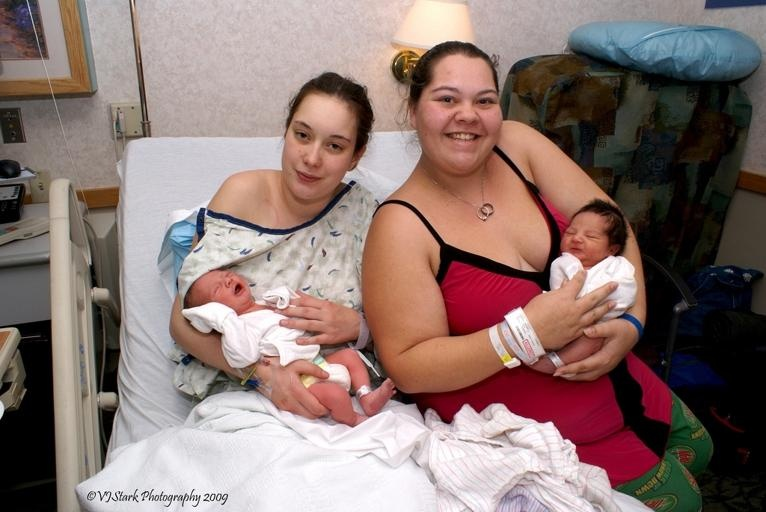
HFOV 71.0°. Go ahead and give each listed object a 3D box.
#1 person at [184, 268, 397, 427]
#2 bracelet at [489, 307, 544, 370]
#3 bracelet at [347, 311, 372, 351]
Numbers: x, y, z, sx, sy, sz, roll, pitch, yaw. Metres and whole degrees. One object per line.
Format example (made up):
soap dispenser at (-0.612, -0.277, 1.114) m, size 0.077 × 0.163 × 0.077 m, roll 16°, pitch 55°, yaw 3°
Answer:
person at (-0.378, 0.288, 1.854) m, size 0.787 × 0.258 × 0.417 m, roll 34°, pitch 31°, yaw 2°
bracelet at (0.443, 0.289, 1.905) m, size 0.141 × 0.218 × 0.218 m, roll -33°, pitch -5°, yaw -2°
bracelet at (-0.064, 0.277, 1.999) m, size 0.096 × 0.129 × 0.120 m, roll 2°, pitch -9°, yaw 25°
